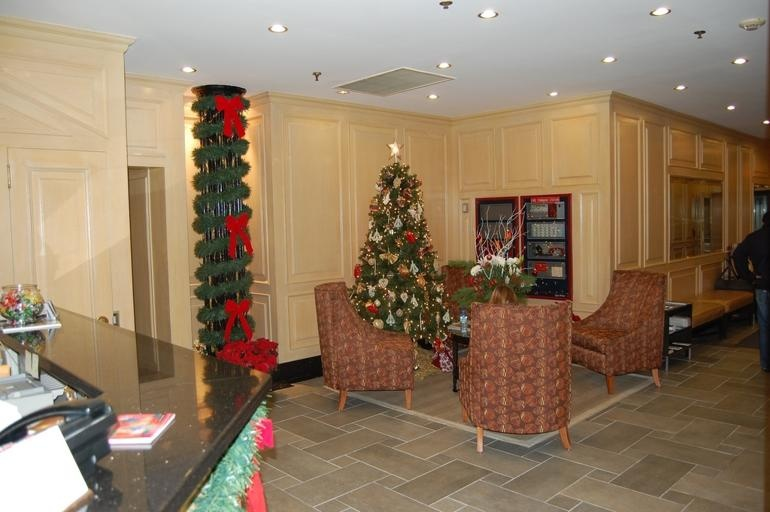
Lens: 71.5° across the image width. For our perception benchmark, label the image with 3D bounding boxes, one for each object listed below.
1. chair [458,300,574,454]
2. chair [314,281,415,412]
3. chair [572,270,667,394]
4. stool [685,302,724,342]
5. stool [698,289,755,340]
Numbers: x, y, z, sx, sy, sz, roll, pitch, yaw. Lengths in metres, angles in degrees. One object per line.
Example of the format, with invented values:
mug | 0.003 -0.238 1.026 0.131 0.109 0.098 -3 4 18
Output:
chair | 1.052 1.079 4.988 1.115 1.220 1.080 2 -8 0
chair | -0.188 0.982 6.035 1.254 1.195 0.971 0 2 -3
chair | 2.673 0.841 6.253 1.111 1.088 1.006 -6 8 0
stool | 4.655 0.957 7.806 0.489 0.323 0.743 1 4 43
stool | 5.594 0.831 8.819 1.126 0.462 0.708 -7 7 -44
